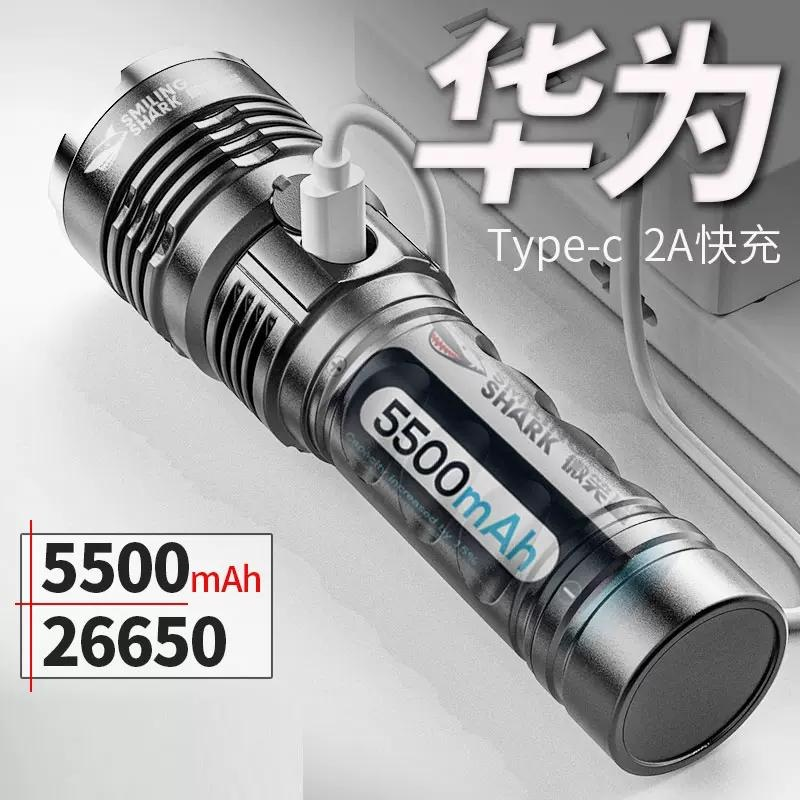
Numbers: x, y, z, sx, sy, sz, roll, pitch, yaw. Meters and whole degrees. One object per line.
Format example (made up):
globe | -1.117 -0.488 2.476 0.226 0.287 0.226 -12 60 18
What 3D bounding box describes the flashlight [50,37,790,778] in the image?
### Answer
flashlight | -0.027 0.004 0.598 0.253 0.668 0.253 -35 -16 -53
